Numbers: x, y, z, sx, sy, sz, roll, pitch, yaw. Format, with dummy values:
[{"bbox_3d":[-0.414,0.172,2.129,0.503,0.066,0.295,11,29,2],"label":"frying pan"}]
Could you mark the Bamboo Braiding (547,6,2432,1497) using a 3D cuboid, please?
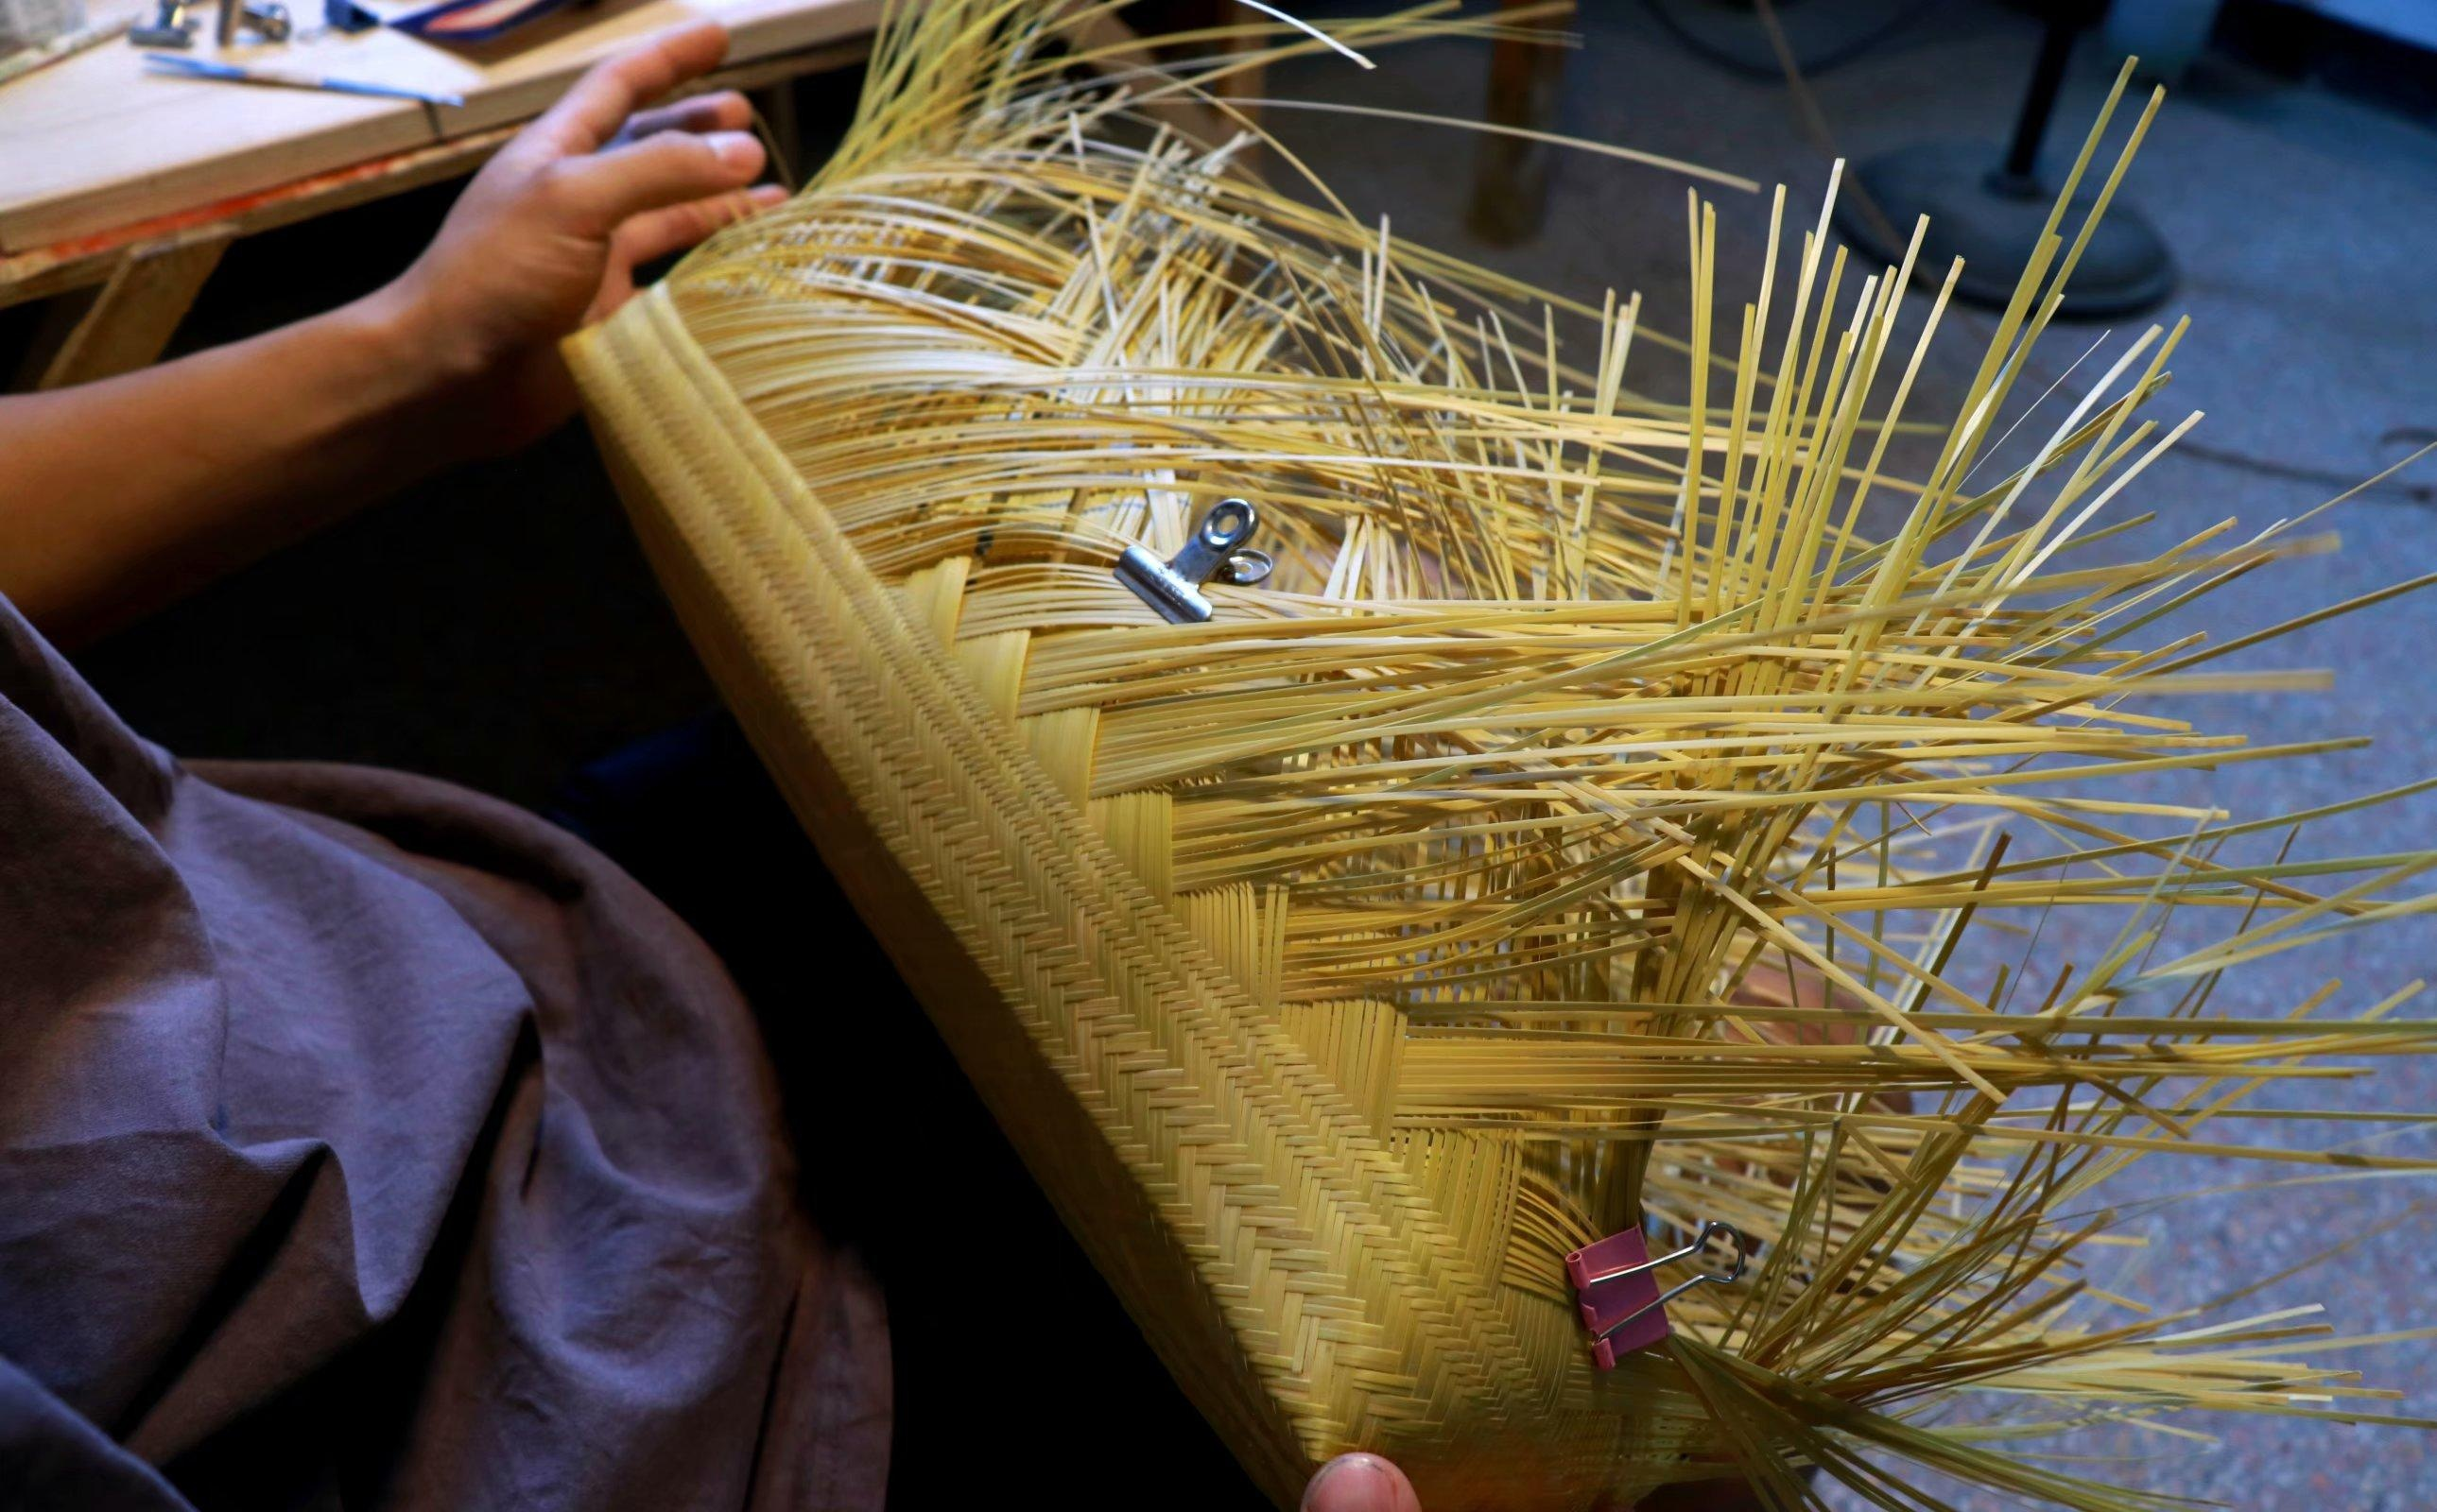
[{"bbox_3d":[0.146,0.011,1.449,0.478,0.602,1.101,-46,70,10],"label":"Bamboo Braiding"}]
